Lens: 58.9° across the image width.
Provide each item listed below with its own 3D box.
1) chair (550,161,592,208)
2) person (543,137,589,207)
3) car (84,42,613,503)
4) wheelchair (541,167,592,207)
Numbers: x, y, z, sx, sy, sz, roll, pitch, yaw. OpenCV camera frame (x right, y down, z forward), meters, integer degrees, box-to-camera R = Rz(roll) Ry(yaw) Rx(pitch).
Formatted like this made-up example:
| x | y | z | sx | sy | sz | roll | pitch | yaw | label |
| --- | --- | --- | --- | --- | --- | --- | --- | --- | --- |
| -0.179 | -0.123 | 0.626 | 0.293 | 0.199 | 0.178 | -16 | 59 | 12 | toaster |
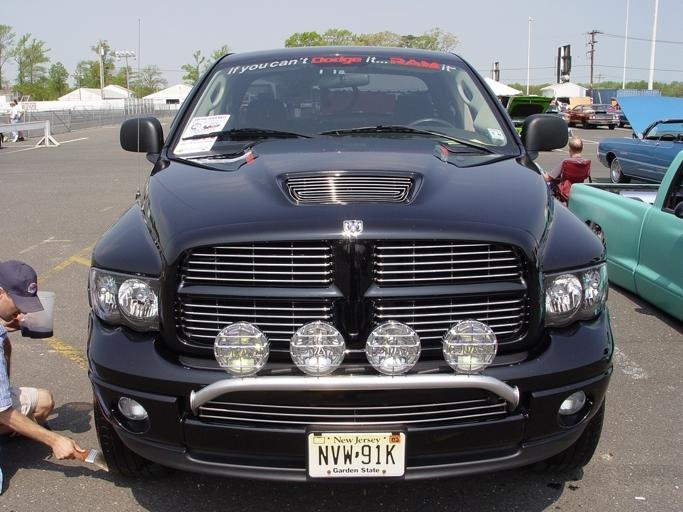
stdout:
| x | y | z | sx | sy | sz | roll | pitch | yaw | label |
| --- | --- | --- | --- | --- | --- | --- | --- | --- | --- |
| 3.570 | -1.137 | 9.374 | 0.489 | 0.639 | 0.359 | 7 | 0 | -3 | chair |
| 3.571 | -1.310 | 9.521 | 0.708 | 1.109 | 0.728 | 1 | 17 | 11 | person |
| -0.056 | -0.486 | 4.967 | 2.753 | 2.314 | 5.009 | -1 | 15 | -4 | car |
| 3.527 | -1.224 | 9.519 | 0.470 | 0.660 | 0.694 | -6 | 13 | -17 | wheelchair |
